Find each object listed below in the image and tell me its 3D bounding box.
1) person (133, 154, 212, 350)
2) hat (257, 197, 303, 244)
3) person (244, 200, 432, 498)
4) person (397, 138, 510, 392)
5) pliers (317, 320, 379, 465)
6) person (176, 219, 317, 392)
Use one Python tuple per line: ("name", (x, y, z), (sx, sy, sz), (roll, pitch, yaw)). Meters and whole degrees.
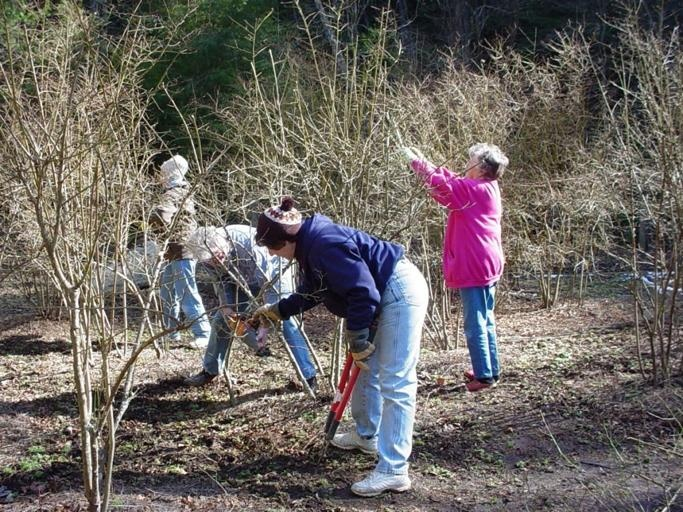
("person", (-1.557, -0.054, 6.991), (1.012, 2.366, 0.719), (0, 1, -33))
("hat", (-0.437, -0.246, 4.853), (0.277, 0.338, 0.298), (15, 16, 43))
("person", (0.086, 0.625, 4.967), (1.130, 2.008, 0.741), (-6, -1, 4))
("person", (0.960, 0.106, 6.215), (0.866, 2.185, 1.024), (-10, 12, -42))
("pliers", (0.004, 1.057, 5.220), (0.085, 1.089, 0.182), (10, 24, -21))
("person", (-0.882, 0.231, 6.231), (1.444, 2.077, 0.736), (-3, 5, -26))
